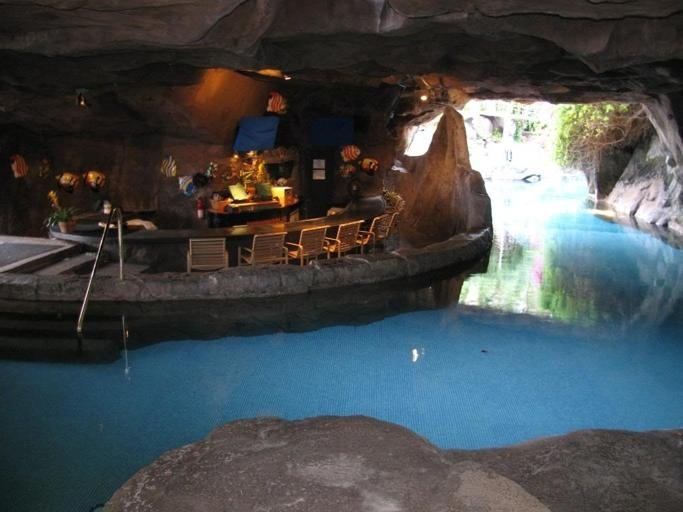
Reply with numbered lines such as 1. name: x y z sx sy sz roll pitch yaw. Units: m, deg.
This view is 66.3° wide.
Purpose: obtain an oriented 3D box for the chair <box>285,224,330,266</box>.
1. chair: -0.700 -0.198 11.090 0.808 0.981 1.097 5 20 1

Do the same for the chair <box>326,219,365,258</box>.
1. chair: 0.049 -0.365 11.792 0.721 1.040 1.189 5 20 0

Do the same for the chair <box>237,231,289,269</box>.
1. chair: -1.569 -0.164 10.414 0.877 0.969 0.762 -10 29 -26

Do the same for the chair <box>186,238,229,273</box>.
1. chair: -2.507 -0.078 10.295 0.832 0.859 0.684 -2 16 -13

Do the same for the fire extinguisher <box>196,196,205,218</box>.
1. fire extinguisher: -3.369 -1.145 12.640 0.172 0.491 0.366 -1 21 -15
